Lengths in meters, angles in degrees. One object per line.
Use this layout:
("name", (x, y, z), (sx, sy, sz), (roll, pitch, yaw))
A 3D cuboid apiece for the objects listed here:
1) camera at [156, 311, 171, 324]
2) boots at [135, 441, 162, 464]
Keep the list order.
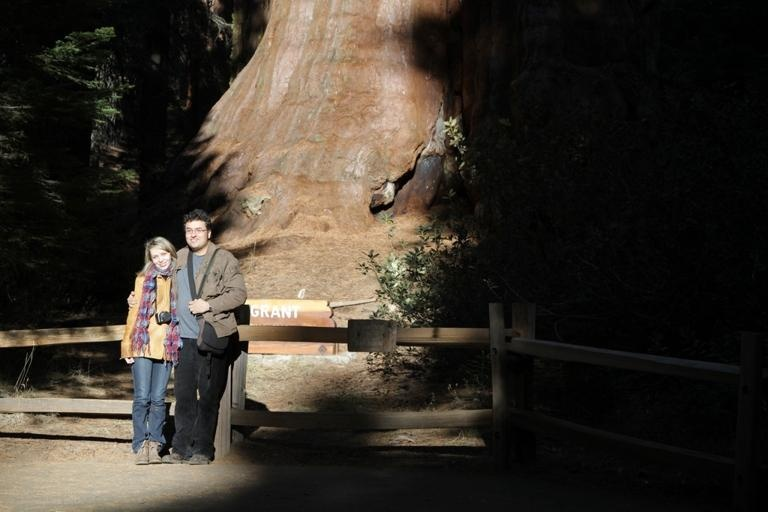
("camera", (-2.726, 0.763, 9.530), (0.173, 0.119, 0.132), (7, -9, -40))
("boots", (-2.922, 2.478, 9.559), (0.201, 0.171, 0.364), (2, -6, -15))
